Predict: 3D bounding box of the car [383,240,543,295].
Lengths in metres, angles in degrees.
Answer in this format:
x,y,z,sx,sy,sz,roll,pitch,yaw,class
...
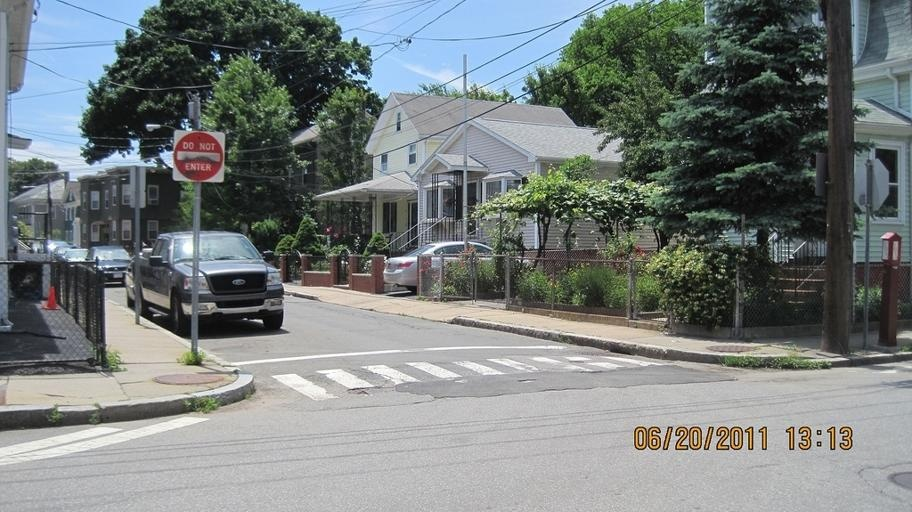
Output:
x,y,z,sx,sy,sz,roll,pitch,yaw,class
0.322,0.529,33.158,5.664,1.694,2.289,-2,1,-23,car
